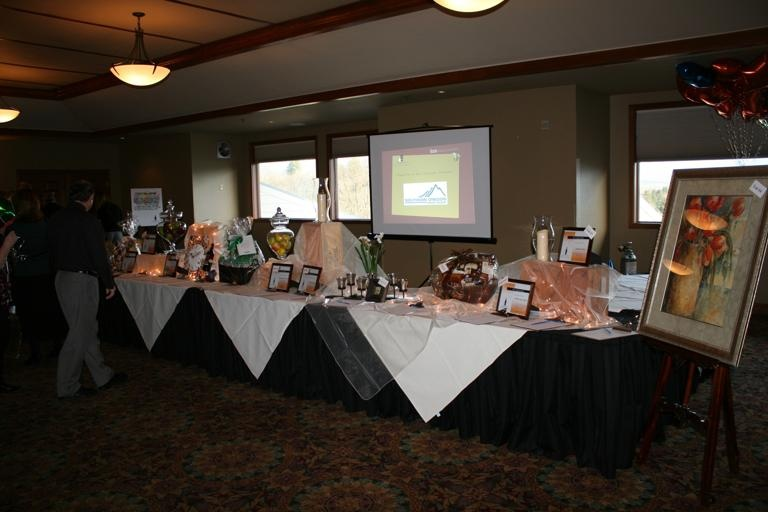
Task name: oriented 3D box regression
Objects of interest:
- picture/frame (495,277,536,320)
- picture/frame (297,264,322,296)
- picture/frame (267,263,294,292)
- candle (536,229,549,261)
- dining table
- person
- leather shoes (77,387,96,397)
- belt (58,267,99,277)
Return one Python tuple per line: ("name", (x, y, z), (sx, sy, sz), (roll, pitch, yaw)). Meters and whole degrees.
("picture/frame", (1.014, 0.325, 3.909), (0.255, 0.327, 0.316), (10, -1, -44))
("picture/frame", (-0.679, 0.233, 4.660), (0.244, 0.313, 0.043), (4, -12, 35))
("picture/frame", (-0.991, 0.215, 4.857), (0.024, 0.242, 0.218), (14, 4, -45))
("candle", (1.247, -0.089, 3.931), (0.097, 0.230, 0.083), (2, 13, 18))
("dining table", (-0.542, 0.707, 5.132), (6.219, 0.986, 1.719), (7, 16, 34))
("person", (-2.934, 0.329, 4.822), (0.612, 2.046, 0.738), (-8, 14, -29))
("leather shoes", (-2.857, 1.309, 4.836), (0.184, 0.144, 0.065), (1, 5, 0))
("belt", (-2.820, 0.160, 4.607), (0.310, 0.084, 0.078), (-5, 13, -15))
